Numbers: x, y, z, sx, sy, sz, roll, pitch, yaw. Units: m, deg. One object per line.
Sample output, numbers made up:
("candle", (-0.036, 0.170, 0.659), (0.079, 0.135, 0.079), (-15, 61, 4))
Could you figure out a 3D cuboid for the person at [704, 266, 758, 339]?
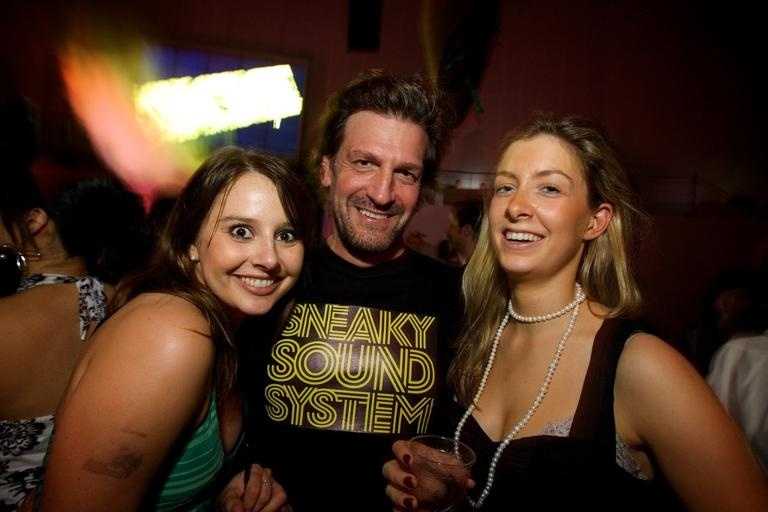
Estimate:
("person", (3.436, 0.482, 5.604), (0.448, 0.333, 0.760), (-20, 42, 49))
